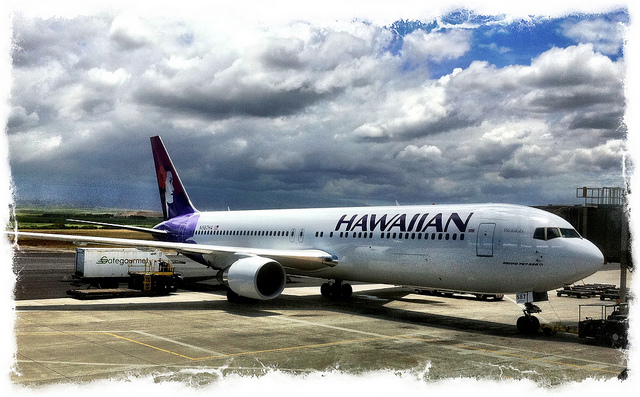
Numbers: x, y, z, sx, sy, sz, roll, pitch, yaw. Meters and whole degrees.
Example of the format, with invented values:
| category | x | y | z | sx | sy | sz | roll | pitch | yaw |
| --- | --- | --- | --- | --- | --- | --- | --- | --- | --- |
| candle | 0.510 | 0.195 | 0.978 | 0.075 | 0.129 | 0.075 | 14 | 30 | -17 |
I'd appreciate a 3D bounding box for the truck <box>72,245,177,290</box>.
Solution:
| category | x | y | z | sx | sy | sz | roll | pitch | yaw |
| --- | --- | --- | --- | --- | --- | --- | --- | --- | --- |
| truck | -12.549 | 4.505 | 34.601 | 6.229 | 2.321 | 2.063 | 7 | -13 | -44 |
